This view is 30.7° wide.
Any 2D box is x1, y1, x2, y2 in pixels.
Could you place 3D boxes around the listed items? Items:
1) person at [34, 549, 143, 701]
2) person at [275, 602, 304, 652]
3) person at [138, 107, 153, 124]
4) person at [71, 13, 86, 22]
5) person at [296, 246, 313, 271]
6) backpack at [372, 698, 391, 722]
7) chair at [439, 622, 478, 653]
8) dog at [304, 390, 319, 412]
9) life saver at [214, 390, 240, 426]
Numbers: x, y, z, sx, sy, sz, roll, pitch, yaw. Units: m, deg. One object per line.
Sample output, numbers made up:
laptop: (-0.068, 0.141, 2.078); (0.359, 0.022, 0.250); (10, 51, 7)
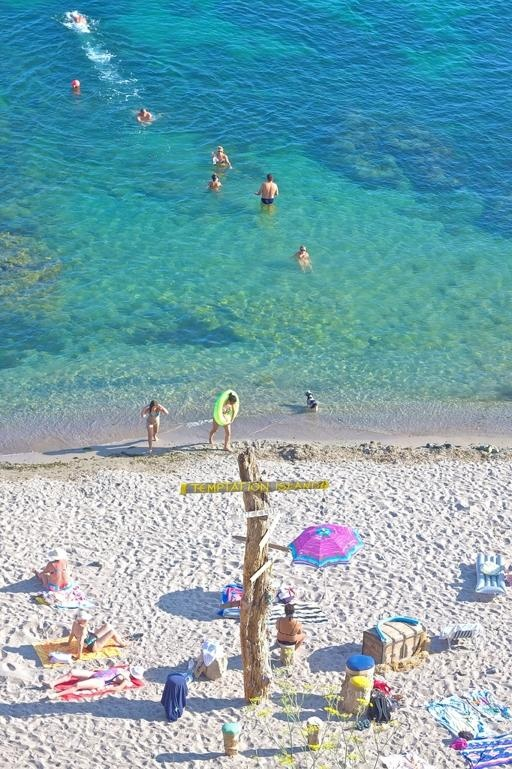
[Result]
person: (-2.985, 4.322, 16.448); (1.210, 0.643, 2.038); (-7, 37, -22)
person: (0.575, 4.271, 16.306); (0.522, 1.016, 0.543); (14, 56, 5)
person: (-4.549, -10.996, 38.054); (0.635, 0.657, 0.992); (-4, 61, -4)
person: (-8.429, -17.394, 44.221); (0.647, 0.141, 0.820); (-12, 61, -9)
person: (1.578, -4.278, 30.983); (0.362, 0.401, 1.018); (-6, 35, -3)
backpack: (1.957, 5.116, 14.655); (0.298, 0.144, 0.342); (-8, 78, -3)
chair: (3.544, 4.441, 16.450); (0.583, 0.425, 0.195); (-25, 61, 32)
dog: (1.434, 0.370, 25.260); (0.220, 0.386, 0.692); (-19, 46, 1)
life saver: (-0.779, 0.576, 22.301); (0.301, 0.711, 0.789); (20, 96, 31)
